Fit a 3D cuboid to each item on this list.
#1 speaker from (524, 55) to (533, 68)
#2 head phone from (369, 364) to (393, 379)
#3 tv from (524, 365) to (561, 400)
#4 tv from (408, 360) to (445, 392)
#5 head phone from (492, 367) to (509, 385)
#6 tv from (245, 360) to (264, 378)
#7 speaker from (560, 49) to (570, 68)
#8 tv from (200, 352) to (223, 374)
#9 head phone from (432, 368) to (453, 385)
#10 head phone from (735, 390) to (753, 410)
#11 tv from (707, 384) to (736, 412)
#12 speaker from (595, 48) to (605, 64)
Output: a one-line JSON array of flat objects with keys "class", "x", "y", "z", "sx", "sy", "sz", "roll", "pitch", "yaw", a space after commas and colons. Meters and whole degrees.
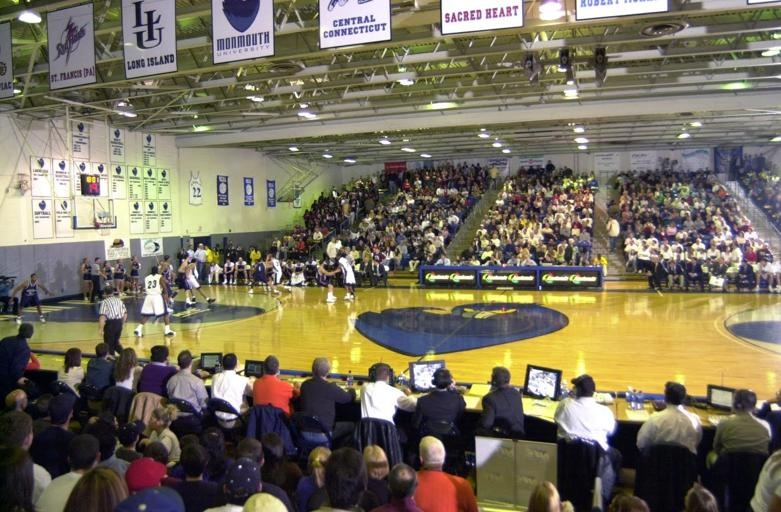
[{"class": "speaker", "x": 4.144, "y": -5.808, "z": 18.372, "sx": 0.325, "sy": 0.316, "sz": 0.578, "roll": 2, "pitch": 25, "yaw": -1}, {"class": "head phone", "x": -0.187, "y": 1.998, "z": 10.963, "sx": 0.374, "sy": 0.288, "sz": 0.488, "roll": 0, "pitch": -5, "yaw": -1}, {"class": "tv", "x": 2.805, "y": 2.350, "z": 11.328, "sx": 0.553, "sy": 0.464, "sz": 0.290, "roll": 6, "pitch": 6, "yaw": 30}, {"class": "tv", "x": 0.688, "y": 2.232, "z": 11.374, "sx": 0.608, "sy": 0.498, "sz": 0.305, "roll": -1, "pitch": 3, "yaw": -20}, {"class": "head phone", "x": 1.900, "y": 2.032, "z": 10.622, "sx": 0.312, "sy": 0.309, "sz": 0.233, "roll": -13, "pitch": 15, "yaw": -41}, {"class": "tv", "x": -2.671, "y": 2.225, "z": 12.099, "sx": 0.390, "sy": 0.326, "sz": 0.202, "roll": 0, "pitch": -3, "yaw": 8}, {"class": "speaker", "x": 5.069, "y": -5.714, "z": 17.783, "sx": 0.249, "sy": 0.578, "sz": 0.707, "roll": -2, "pitch": -1, "yaw": 21}, {"class": "tv", "x": -3.660, "y": 2.172, "z": 12.671, "sx": 0.491, "sy": 0.465, "sz": 0.389, "roll": 2, "pitch": -8, "yaw": -6}, {"class": "head phone", "x": 0.904, "y": 2.068, "z": 10.655, "sx": 0.251, "sy": 0.299, "sz": 0.309, "roll": 3, "pitch": 7, "yaw": -1}, {"class": "head phone", "x": 5.650, "y": 2.301, "z": 9.801, "sx": 0.303, "sy": 0.352, "sz": 0.165, "roll": -2, "pitch": -1, "yaw": 28}, {"class": "tv", "x": 5.817, "y": 2.510, "z": 10.806, "sx": 0.527, "sy": 0.451, "sz": 0.290, "roll": -2, "pitch": -2, "yaw": 41}, {"class": "speaker", "x": 6.052, "y": -5.736, "z": 17.645, "sx": 0.313, "sy": 0.432, "sz": 0.174, "roll": -2, "pitch": -1, "yaw": 3}]
